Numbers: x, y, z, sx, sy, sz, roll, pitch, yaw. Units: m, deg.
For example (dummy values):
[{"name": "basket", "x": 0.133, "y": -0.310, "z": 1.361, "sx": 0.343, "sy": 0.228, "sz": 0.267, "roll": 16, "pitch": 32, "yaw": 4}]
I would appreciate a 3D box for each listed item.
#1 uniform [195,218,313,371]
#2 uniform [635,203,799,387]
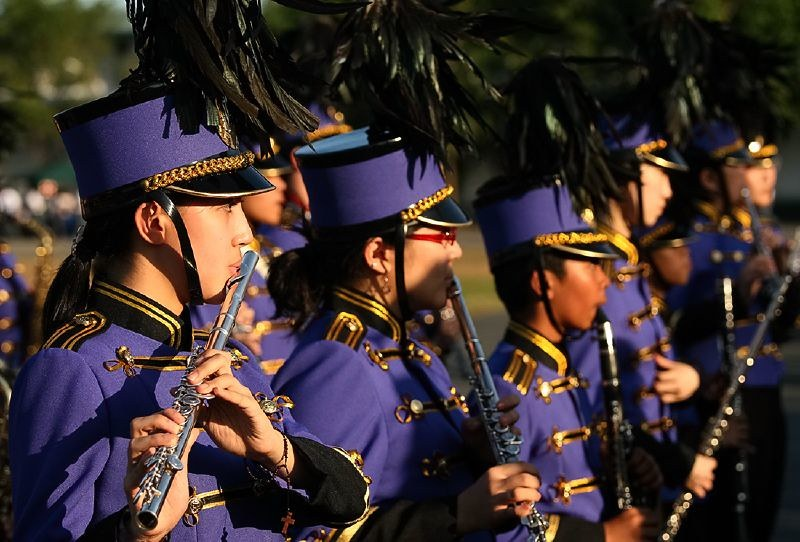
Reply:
[{"name": "uniform", "x": -1.013, "y": 0.166, "z": 11.853, "sx": 0.304, "sy": 1.057, "sz": 0.855, "roll": 17, "pitch": -11, "yaw": -30}, {"name": "uniform", "x": 2.543, "y": 0.051, "z": 12.782, "sx": 1.285, "sy": 1.530, "sz": 1.147, "roll": -5, "pitch": 34, "yaw": 9}]
